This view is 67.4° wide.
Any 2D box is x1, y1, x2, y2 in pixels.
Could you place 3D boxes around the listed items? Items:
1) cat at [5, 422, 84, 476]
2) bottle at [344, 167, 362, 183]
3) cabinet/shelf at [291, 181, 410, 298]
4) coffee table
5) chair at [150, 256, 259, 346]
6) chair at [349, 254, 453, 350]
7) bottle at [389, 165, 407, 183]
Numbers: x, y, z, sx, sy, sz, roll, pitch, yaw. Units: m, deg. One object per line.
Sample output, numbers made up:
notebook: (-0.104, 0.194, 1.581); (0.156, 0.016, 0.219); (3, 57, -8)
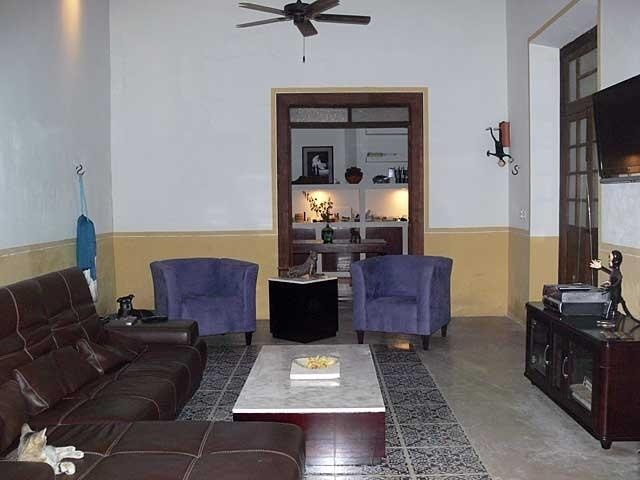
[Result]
cat: (-1.398, 1.037, 2.384); (0.385, 0.184, 0.270); (-2, 7, -13)
bottle: (0.690, -1.354, 9.979); (0.308, 0.312, 0.327); (-1, -1, -3)
cabinet/shelf: (0.476, -0.048, 7.912); (2.050, 2.021, 0.667); (-1, 4, 1)
coffee table: (0.033, 1.094, 3.112); (0.583, 0.234, 0.957); (1, 4, 2)
chair: (-1.297, 0.639, 5.373); (1.073, 0.979, 1.031); (1, -4, -26)
chair: (0.989, 0.651, 5.694); (1.044, 1.050, 1.049); (-1, -3, 26)
bottle: (1.659, -1.382, 10.180); (0.450, 0.474, 0.142); (-2, -19, 16)
